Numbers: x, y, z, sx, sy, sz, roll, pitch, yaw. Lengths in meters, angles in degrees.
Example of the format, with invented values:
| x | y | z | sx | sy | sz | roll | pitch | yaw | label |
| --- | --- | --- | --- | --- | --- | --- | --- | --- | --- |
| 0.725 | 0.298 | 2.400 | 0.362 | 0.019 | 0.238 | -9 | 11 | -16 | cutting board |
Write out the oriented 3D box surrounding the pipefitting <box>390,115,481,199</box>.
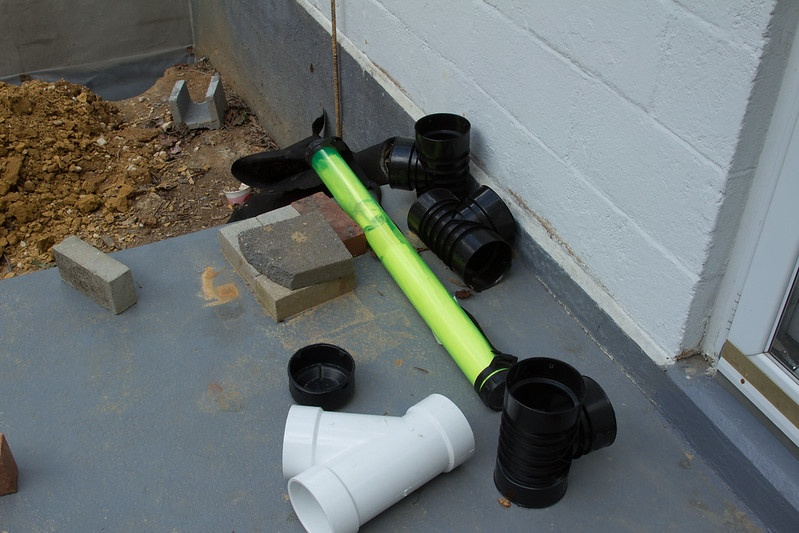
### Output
| x | y | z | sx | sy | sz | roll | pitch | yaw | label |
| --- | --- | --- | --- | --- | --- | --- | --- | --- | --- |
| 0.166 | -0.593 | 3.089 | 0.435 | 0.455 | 0.319 | 20 | 46 | 22 | pipefitting |

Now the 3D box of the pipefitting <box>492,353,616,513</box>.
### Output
| x | y | z | sx | sy | sz | roll | pitch | yaw | label |
| --- | --- | --- | --- | --- | --- | --- | --- | --- | --- |
| 0.509 | 0.543 | 2.252 | 0.255 | 0.456 | 0.450 | 10 | 33 | 16 | pipefitting |

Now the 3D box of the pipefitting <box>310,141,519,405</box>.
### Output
| x | y | z | sx | sy | sz | roll | pitch | yaw | label |
| --- | --- | --- | --- | --- | --- | --- | --- | --- | --- |
| 0.090 | 0.056 | 2.727 | 0.218 | 0.232 | 1.330 | -22 | 58 | -23 | pipefitting |

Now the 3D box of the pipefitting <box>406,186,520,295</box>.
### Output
| x | y | z | sx | sy | sz | roll | pitch | yaw | label |
| --- | --- | --- | --- | --- | --- | --- | --- | --- | --- |
| 0.341 | -0.110 | 2.997 | 0.464 | 0.438 | 0.467 | -31 | 59 | -16 | pipefitting |
